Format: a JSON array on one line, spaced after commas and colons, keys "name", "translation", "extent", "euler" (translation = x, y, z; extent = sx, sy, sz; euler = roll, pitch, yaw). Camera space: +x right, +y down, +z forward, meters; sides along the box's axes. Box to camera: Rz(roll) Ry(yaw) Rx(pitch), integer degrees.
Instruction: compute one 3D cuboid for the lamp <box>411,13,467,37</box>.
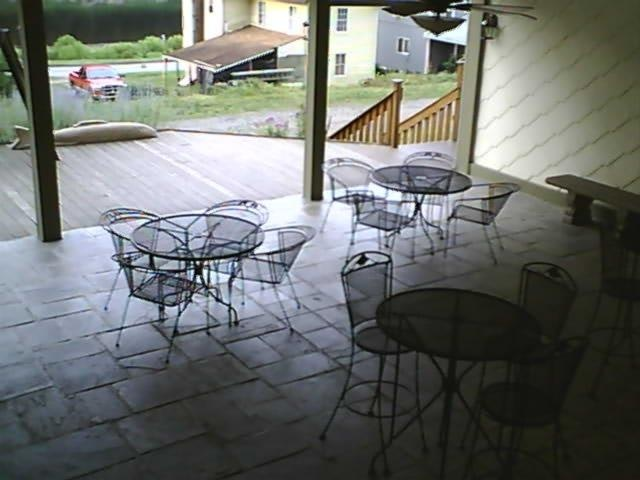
[{"name": "lamp", "translation": [0.933, -1.783, 4.346], "extent": [0.295, 0.115, 0.269], "euler": [12, 25, 28]}]
